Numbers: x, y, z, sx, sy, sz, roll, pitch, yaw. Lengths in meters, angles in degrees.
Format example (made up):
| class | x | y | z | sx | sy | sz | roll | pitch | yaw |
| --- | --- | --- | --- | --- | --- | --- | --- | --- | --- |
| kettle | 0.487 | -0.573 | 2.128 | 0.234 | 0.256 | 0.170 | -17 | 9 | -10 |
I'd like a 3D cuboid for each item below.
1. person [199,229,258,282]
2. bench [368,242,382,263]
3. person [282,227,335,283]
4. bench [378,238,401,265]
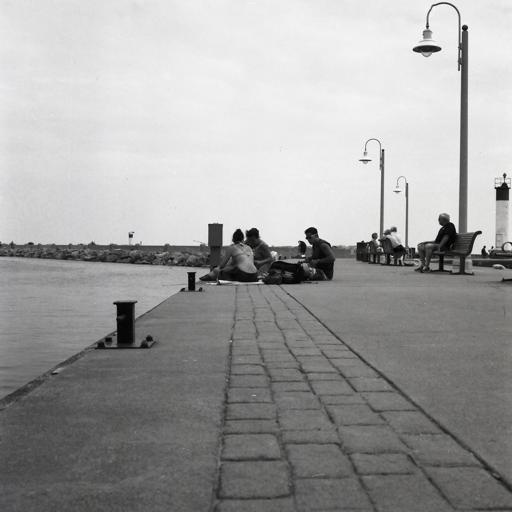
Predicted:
| class | x | y | z | sx | sy | sz | roll | pitch | yaw |
| --- | --- | --- | --- | --- | --- | --- | --- | --- | --- |
| person | -0.615 | 0.019 | 16.580 | 0.714 | 1.281 | 1.381 | 7 | -6 | -41 |
| bench | 5.458 | -0.159 | 34.854 | 0.634 | 1.234 | 0.862 | 0 | 1 | -5 |
| person | 1.229 | 0.148 | 17.136 | 1.023 | 1.754 | 1.349 | 1 | 4 | 4 |
| bench | 5.372 | -0.183 | 30.173 | 0.791 | 1.340 | 0.928 | -1 | 2 | -16 |
